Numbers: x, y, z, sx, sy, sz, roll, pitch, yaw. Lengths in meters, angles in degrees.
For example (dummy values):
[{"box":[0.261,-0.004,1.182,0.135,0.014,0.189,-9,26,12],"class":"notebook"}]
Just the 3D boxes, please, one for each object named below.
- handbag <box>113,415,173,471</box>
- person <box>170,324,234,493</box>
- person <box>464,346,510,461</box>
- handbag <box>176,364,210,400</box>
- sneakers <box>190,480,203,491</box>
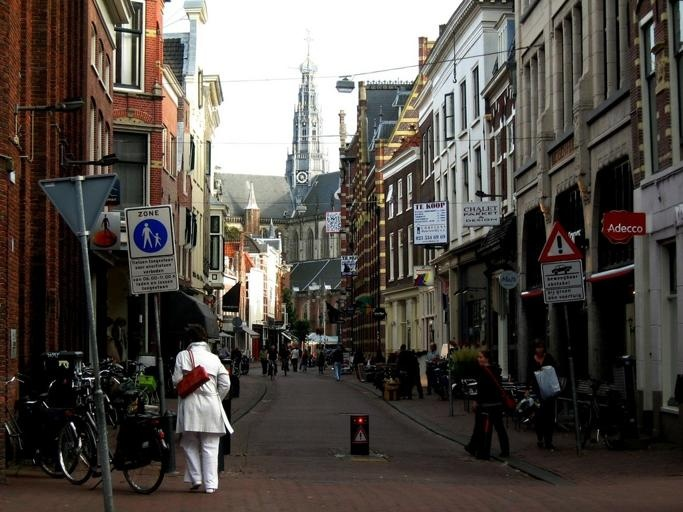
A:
[{"box":[-2.961,2.762,17.035,1.073,0.825,0.305,-9,-11,33],"class":"handbag"},{"box":[-2.101,2.263,17.062,0.835,2.518,0.629,-2,-8,1],"class":"person"},{"box":[2.671,2.702,20.831,0.803,1.978,0.724,-4,-8,9],"class":"person"},{"box":[-2.242,1.864,16.997,0.415,0.167,0.441,-36,13,-2],"class":"handbag"},{"box":[-2.180,3.417,17.024,0.174,0.145,0.288,-1,-10,-9],"class":"sneakers"}]
